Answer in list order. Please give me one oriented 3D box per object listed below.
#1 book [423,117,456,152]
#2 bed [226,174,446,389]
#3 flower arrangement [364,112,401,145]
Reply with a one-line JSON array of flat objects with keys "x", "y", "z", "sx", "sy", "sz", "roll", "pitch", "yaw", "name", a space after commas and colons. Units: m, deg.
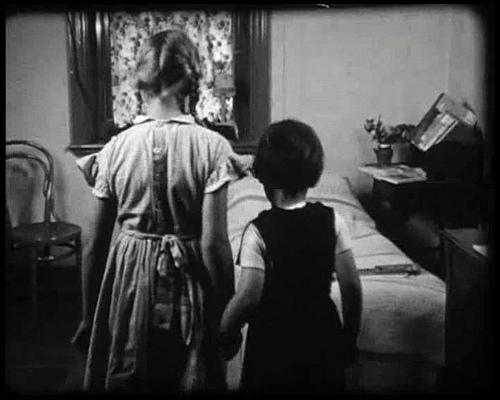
[{"x": 1.384, "y": -0.485, "z": 4.409, "sx": 0.043, "sy": 0.268, "sz": 0.044, "roll": 35, "pitch": 12, "yaw": 1, "name": "book"}, {"x": 0.563, "y": 0.595, "z": 4.357, "sx": 0.850, "sy": 0.483, "sz": 1.609, "roll": -1, "pitch": 19, "yaw": 1, "name": "bed"}, {"x": 1.003, "y": -0.498, "z": 4.430, "sx": 0.315, "sy": 0.157, "sz": 0.297, "roll": 9, "pitch": 2, "yaw": 5, "name": "flower arrangement"}]
